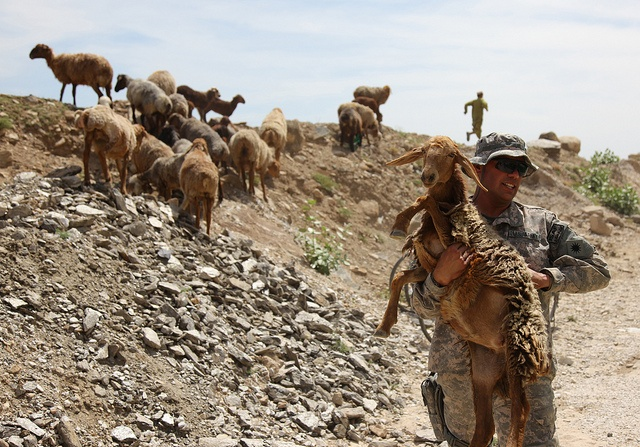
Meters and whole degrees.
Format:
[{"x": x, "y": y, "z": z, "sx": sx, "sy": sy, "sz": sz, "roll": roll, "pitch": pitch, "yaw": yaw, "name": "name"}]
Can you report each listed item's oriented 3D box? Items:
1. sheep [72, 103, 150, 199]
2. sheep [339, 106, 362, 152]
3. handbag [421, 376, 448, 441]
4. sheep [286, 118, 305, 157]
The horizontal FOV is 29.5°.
[{"x": -4.840, "y": -1.717, "z": 27.100, "sx": 1.089, "sy": 1.905, "sz": 2.254, "roll": 6, "pitch": 7, "yaw": 6, "name": "sheep"}, {"x": 0.913, "y": -3.063, "z": 38.762, "sx": 0.701, "sy": 1.370, "sz": 1.260, "roll": 6, "pitch": 7, "yaw": 7, "name": "sheep"}, {"x": 2.174, "y": 3.470, "z": 23.064, "sx": 0.449, "sy": 1.063, "sz": 0.751, "roll": 1, "pitch": 11, "yaw": 6, "name": "handbag"}, {"x": -0.832, "y": -2.656, "z": 36.602, "sx": 0.479, "sy": 1.076, "sz": 1.409, "roll": 7, "pitch": 7, "yaw": 8, "name": "sheep"}]
